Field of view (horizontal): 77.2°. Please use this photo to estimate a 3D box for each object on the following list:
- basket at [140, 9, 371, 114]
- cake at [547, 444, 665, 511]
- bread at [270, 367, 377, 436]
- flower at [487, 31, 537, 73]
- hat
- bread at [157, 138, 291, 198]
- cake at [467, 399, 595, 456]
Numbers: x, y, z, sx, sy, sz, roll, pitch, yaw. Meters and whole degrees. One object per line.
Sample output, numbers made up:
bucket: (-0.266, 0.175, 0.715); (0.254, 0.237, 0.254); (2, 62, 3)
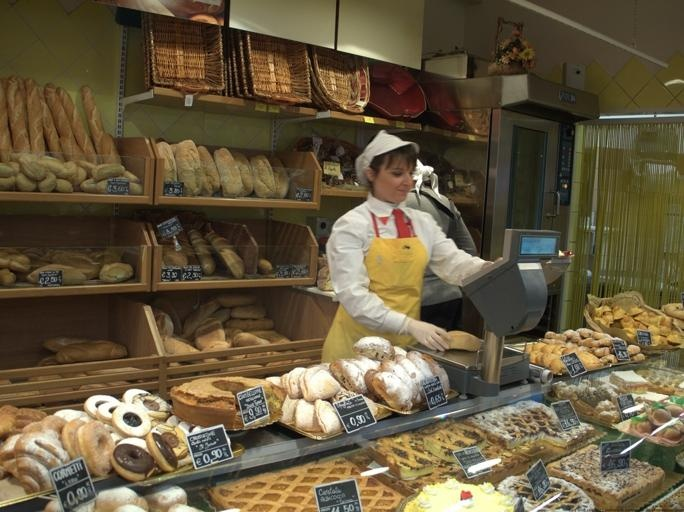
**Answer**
basket: (-0.583, -1.240, 2.870); (1.077, 0.342, 0.641); (1, 4, -24)
cake: (0.807, 0.666, 1.296); (0.212, 0.045, 0.205); (-7, 13, -38)
bread: (-0.080, 0.403, 1.205); (0.226, 0.139, 0.220); (-5, 6, -10)
flower: (1.360, -1.651, 3.434); (0.354, 0.351, 0.299); (5, 13, 11)
hat: (0.265, -0.517, 2.113); (0.294, 0.174, 0.395); (9, 19, 10)
bread: (-0.755, -0.521, 2.796); (0.721, 0.203, 0.439); (0, 2, -35)
cake: (0.609, 0.486, 1.348); (0.262, 0.039, 0.192); (-6, 18, -38)
